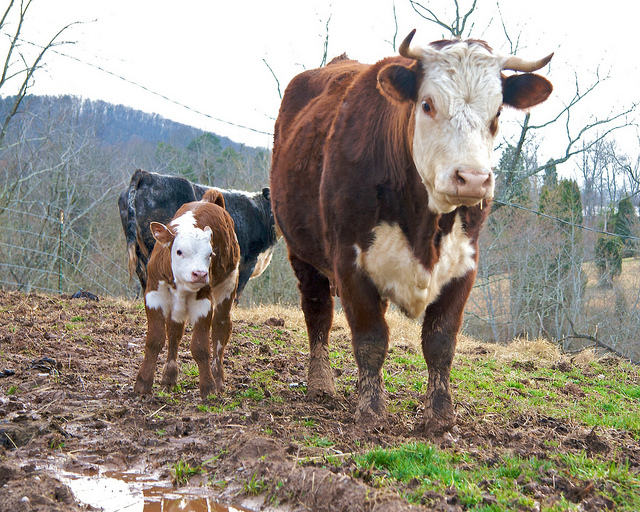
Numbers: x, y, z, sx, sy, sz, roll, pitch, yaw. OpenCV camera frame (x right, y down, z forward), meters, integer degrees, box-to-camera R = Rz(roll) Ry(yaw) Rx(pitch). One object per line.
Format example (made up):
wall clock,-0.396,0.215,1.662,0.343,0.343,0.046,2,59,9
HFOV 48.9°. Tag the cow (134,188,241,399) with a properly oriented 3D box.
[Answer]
cow,-1.511,0.361,8.143,0.986,2.267,1.660,4,2,-6

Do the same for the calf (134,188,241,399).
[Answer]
calf,-1.478,0.356,8.076,0.791,2.548,1.543,4,1,-15

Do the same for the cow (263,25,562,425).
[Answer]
cow,0.657,-0.107,7.952,1.868,4.005,4.687,1,-1,-19

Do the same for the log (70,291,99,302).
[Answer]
log,-4.432,0.760,13.321,0.447,0.217,0.310,11,-15,-38
